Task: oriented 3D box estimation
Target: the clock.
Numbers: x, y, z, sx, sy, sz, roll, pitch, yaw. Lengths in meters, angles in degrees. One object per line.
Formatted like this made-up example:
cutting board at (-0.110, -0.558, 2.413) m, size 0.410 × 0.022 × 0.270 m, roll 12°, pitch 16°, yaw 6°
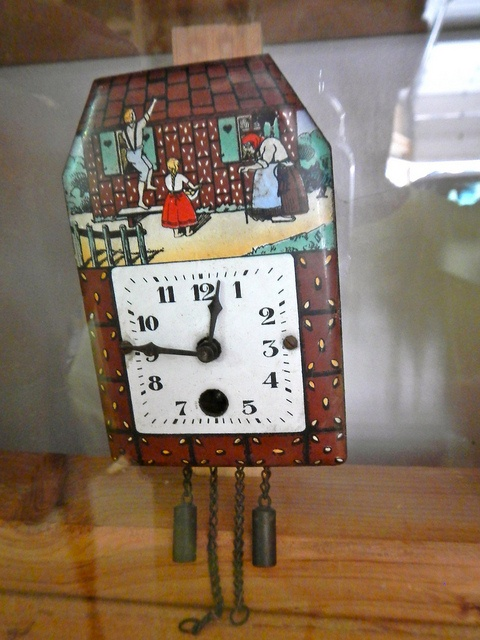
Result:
clock at (-0.037, -0.049, 0.743) m, size 0.268 × 0.365 × 0.154 m, roll -1°, pitch 28°, yaw 7°
